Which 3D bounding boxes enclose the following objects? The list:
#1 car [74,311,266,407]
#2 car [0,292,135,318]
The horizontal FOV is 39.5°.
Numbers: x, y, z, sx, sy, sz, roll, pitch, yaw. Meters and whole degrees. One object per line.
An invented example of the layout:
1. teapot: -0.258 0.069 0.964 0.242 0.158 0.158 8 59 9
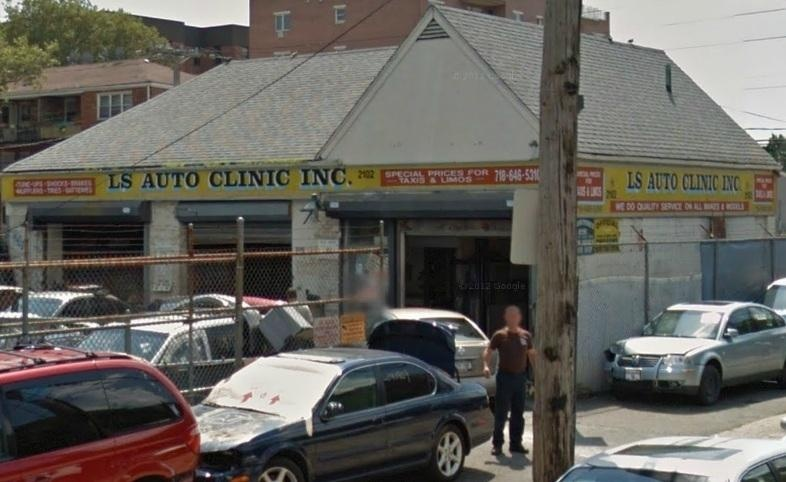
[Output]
1. car: -5.576 3.269 28.738 3.965 2.100 2.337 9 -9 -40
2. car: -9.020 1.883 31.687 2.826 0.830 1.606 5 -5 -40
